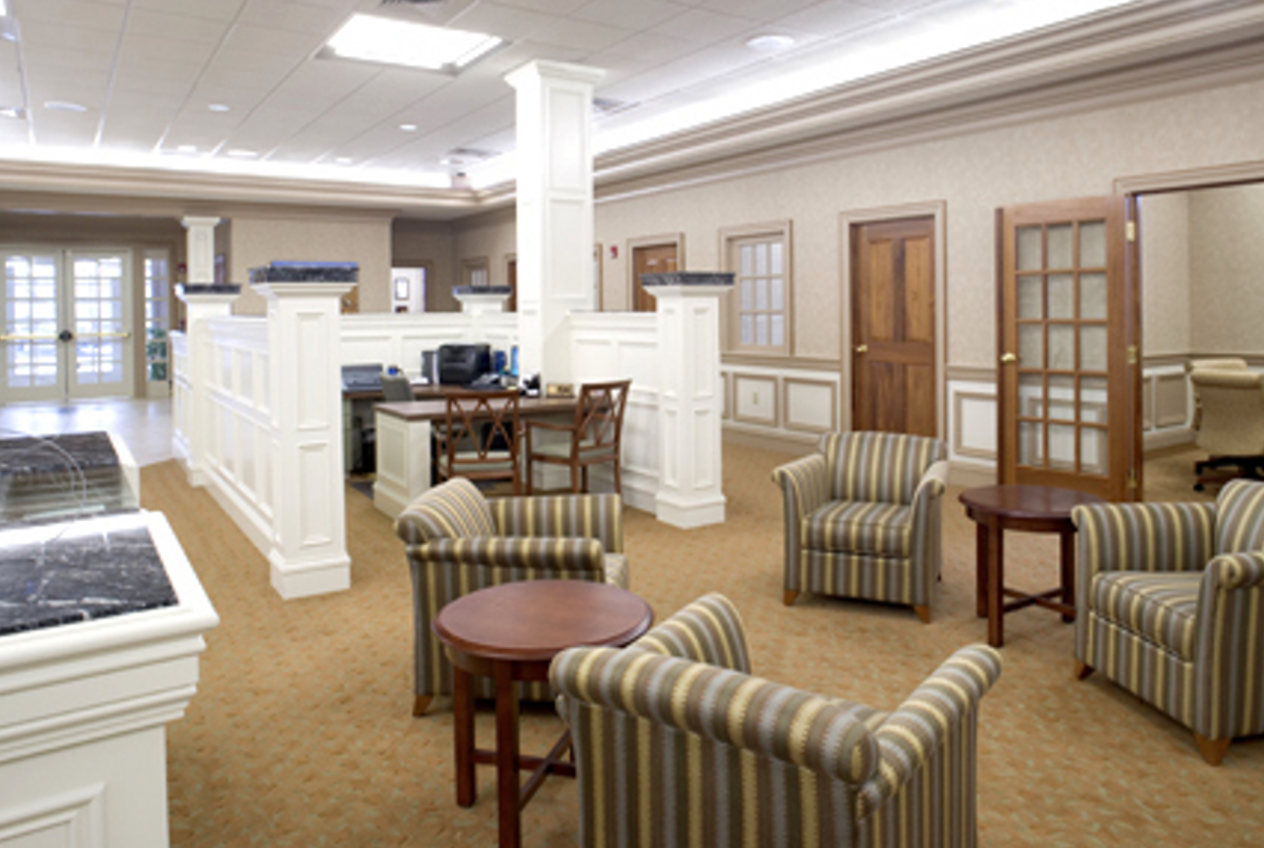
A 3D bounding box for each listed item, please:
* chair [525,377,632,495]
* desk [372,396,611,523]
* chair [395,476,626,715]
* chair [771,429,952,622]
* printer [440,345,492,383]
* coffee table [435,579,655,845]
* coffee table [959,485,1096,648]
[{"bbox_3d":[-0.428,0.123,6.678,0.694,0.946,0.667,-5,10,-34],"label":"chair"},{"bbox_3d":[-1.396,0.161,6.939,1.711,1.034,0.946,-4,7,-33],"label":"desk"},{"bbox_3d":[-0.496,0.759,4.043,0.901,0.899,1.071,0,4,6],"label":"chair"},{"bbox_3d":[1.358,0.452,5.131,1.141,1.150,0.991,0,2,23],"label":"chair"},{"bbox_3d":[-1.719,-0.668,8.971,0.519,0.485,0.389,2,7,24],"label":"printer"},{"bbox_3d":[-0.348,0.966,3.232,0.838,0.718,0.837,3,10,23],"label":"coffee table"},{"bbox_3d":[2.084,0.741,4.632,0.756,0.650,0.762,0,1,37],"label":"coffee table"}]
